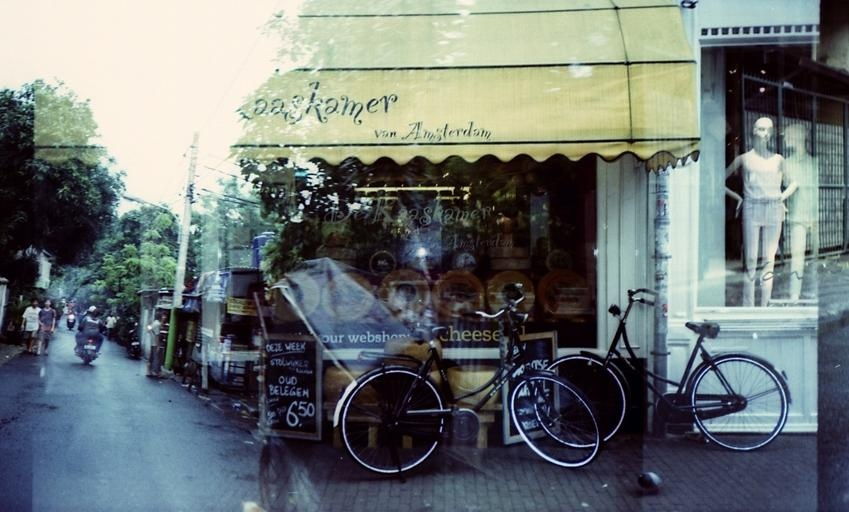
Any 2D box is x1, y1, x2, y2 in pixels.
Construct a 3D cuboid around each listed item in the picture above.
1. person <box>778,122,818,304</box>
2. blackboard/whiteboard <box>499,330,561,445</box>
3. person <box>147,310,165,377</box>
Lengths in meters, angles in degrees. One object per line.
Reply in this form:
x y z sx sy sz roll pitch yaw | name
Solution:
4.823 -0.550 8.850 0.434 2.219 0.128 -1 -4 -1 | person
1.213 1.570 8.052 1.291 1.427 0.068 7 -15 -37 | blackboard/whiteboard
-2.867 0.951 7.456 0.175 0.685 0.124 -1 -4 -5 | person
